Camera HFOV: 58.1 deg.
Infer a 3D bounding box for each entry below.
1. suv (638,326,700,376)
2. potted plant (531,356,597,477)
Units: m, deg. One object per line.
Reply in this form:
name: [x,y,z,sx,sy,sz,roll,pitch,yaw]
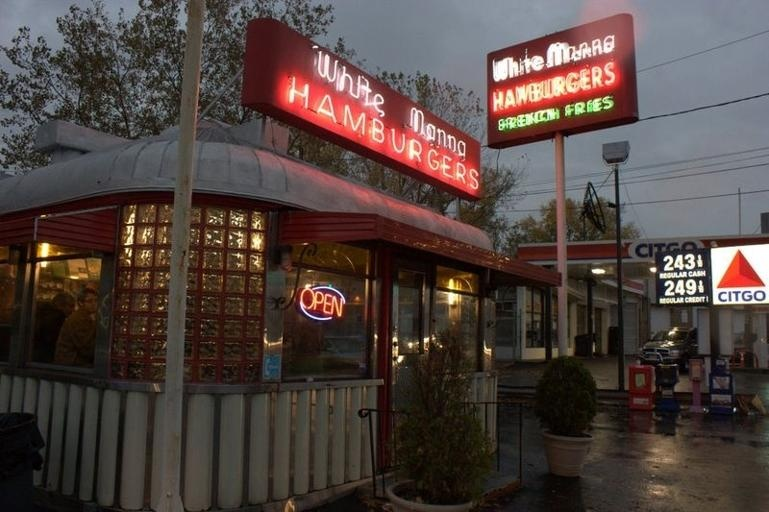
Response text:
suv: [13.597,4.462,33.353,1.858,2.155,3.452,-7,-12,42]
potted plant: [3.412,2.993,13.024,1.099,2.219,0.548,-1,-9,12]
